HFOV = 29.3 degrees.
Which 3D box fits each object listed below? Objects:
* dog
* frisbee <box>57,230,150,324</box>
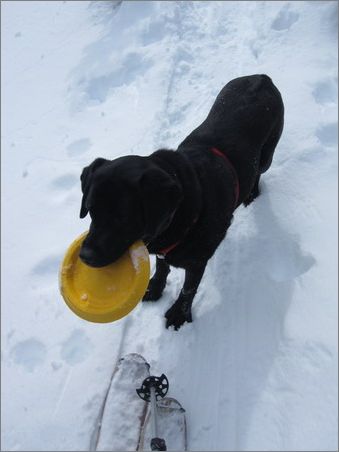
[{"bbox_3d":[0.150,-0.102,4.849,0.537,1.163,1.960,21,73,32],"label":"dog"},{"bbox_3d":[-0.450,0.347,4.173,0.603,0.345,0.463,14,57,13],"label":"frisbee"}]
